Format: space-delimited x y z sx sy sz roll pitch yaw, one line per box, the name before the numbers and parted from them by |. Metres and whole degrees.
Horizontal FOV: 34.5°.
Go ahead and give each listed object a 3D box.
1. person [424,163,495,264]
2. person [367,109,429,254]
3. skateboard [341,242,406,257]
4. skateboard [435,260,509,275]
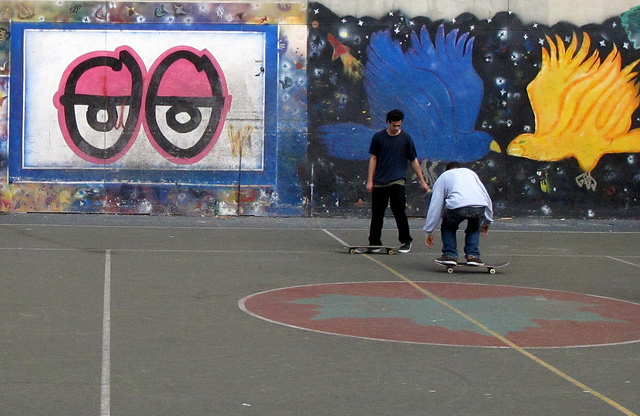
person | 2.515 0.113 18.681 1.134 1.576 0.994 5 14 13
person | 1.439 -0.511 20.263 0.985 2.799 0.763 2 14 3
skateboard | 1.115 0.782 20.247 1.388 0.228 0.331 -1 1 1
skateboard | 2.873 1.041 18.499 1.599 0.260 0.445 0 6 3
